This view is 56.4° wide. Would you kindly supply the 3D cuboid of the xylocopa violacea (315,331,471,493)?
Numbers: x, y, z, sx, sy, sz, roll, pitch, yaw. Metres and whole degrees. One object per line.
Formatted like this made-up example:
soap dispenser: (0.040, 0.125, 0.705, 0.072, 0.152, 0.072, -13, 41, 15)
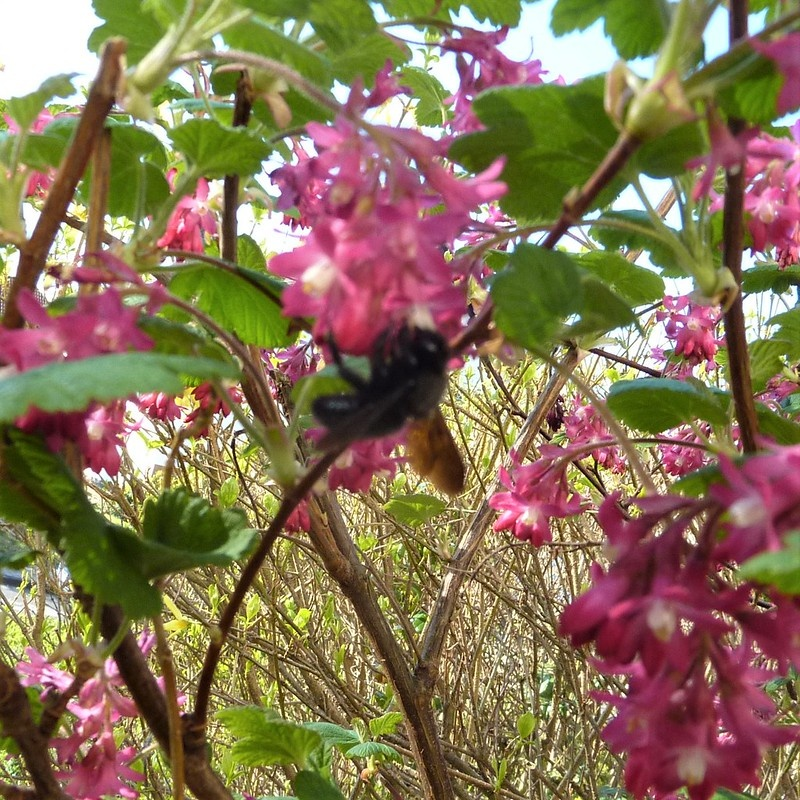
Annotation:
xylocopa violacea: (0.011, 0.008, 0.541, 0.045, 0.126, 0.094, -20, -82, 29)
